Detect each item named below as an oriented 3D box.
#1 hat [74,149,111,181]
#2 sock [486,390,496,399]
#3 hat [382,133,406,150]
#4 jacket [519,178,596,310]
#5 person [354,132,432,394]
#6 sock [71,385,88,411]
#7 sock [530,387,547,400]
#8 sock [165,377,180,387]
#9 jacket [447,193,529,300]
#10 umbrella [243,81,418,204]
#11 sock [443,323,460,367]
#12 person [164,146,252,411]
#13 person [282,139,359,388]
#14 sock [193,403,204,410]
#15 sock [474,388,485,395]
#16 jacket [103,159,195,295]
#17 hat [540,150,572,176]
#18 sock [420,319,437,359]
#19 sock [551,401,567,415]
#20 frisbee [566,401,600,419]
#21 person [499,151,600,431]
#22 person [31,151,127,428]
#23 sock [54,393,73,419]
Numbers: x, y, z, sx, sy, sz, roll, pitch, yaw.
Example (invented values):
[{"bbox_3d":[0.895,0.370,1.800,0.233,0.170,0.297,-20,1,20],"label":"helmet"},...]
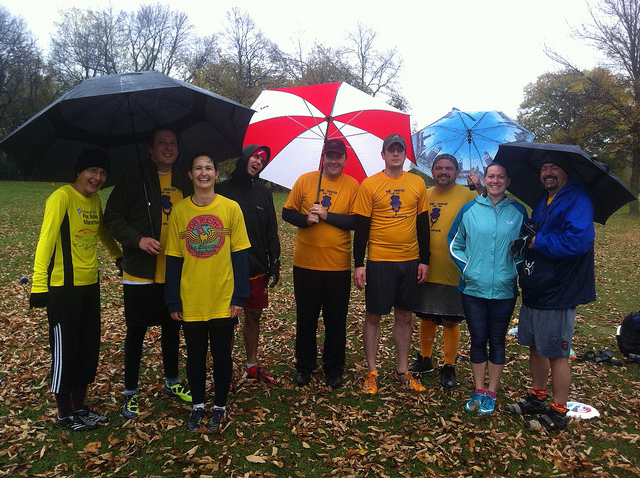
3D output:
[{"bbox_3d":[-2.433,-0.775,4.432,0.305,0.240,0.295,11,-20,-27],"label":"hat"},{"bbox_3d":[2.064,1.877,4.980,0.075,0.055,0.078,3,3,22],"label":"sock"},{"bbox_3d":[0.945,-1.236,5.266,0.292,0.197,0.205,4,10,9],"label":"hat"},{"bbox_3d":[2.725,0.076,4.709,0.769,1.488,0.498,7,10,25],"label":"jacket"},{"bbox_3d":[0.917,0.323,5.353,1.001,3.247,0.555,2,9,-1],"label":"person"},{"bbox_3d":[-2.663,1.750,4.579,0.144,0.337,0.127,-4,12,-35],"label":"sock"},{"bbox_3d":[2.658,1.879,5.065,0.118,0.097,0.149,8,10,-5],"label":"sock"},{"bbox_3d":[-1.823,1.772,5.101,0.145,0.095,0.072,2,5,-19],"label":"sock"},{"bbox_3d":[2.050,0.107,5.004,1.234,1.493,0.636,4,-9,14],"label":"jacket"},{"bbox_3d":[0.223,-1.534,6.222,2.034,2.015,1.329,-10,12,13],"label":"umbrella"},{"bbox_3d":[1.773,1.450,5.638,0.193,0.570,0.136,4,10,12],"label":"sock"},{"bbox_3d":[-1.245,0.484,4.578,0.896,2.839,0.455,0,9,-11],"label":"person"},{"bbox_3d":[0.007,0.319,5.445,0.870,3.196,0.544,3,9,4],"label":"person"},{"bbox_3d":[-1.348,1.871,4.618,0.108,0.063,0.030,-2,11,-23],"label":"sock"},{"bbox_3d":[1.955,1.860,5.072,0.112,0.072,0.084,6,11,20],"label":"sock"},{"bbox_3d":[-2.061,-0.142,4.610,0.602,1.470,0.399,-3,11,-28],"label":"jacket"},{"bbox_3d":[2.716,-0.914,4.759,0.292,0.229,0.288,13,-25,34],"label":"hat"},{"bbox_3d":[1.524,1.422,5.873,0.216,0.618,0.196,5,10,13],"label":"sock"},{"bbox_3d":[2.728,1.934,4.739,0.137,0.099,0.134,8,-6,-11],"label":"sock"},{"bbox_3d":[3.185,2.093,5.016,0.339,0.058,0.437,9,13,30],"label":"frisbee"},{"bbox_3d":[2.696,0.574,4.825,0.858,3.141,0.905,9,11,34],"label":"person"},{"bbox_3d":[-2.636,0.544,4.527,0.595,2.959,0.689,2,9,-5],"label":"person"},{"bbox_3d":[-2.788,1.786,4.535,0.133,0.314,0.184,8,11,33],"label":"sock"}]
